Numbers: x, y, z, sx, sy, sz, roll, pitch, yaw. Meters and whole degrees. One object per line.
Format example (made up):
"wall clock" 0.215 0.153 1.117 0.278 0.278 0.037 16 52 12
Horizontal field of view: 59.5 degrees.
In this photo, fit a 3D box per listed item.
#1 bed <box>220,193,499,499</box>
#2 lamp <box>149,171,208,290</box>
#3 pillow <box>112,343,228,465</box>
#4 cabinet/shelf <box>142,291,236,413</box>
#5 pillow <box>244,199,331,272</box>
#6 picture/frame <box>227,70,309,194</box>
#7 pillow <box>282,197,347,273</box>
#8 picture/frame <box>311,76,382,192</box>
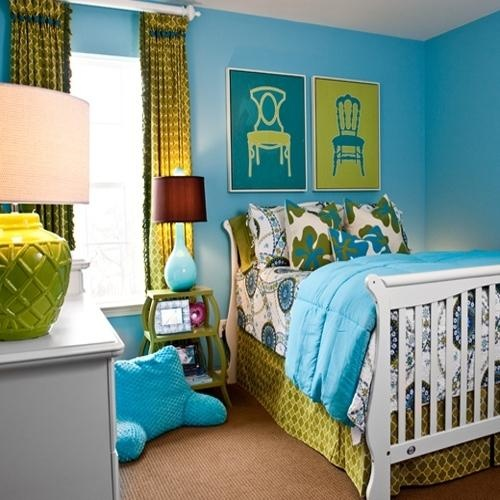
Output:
"bed" 0.476 0.345 2.543 0.832 1.131 1.355 -4 7 -26
"lamp" -0.418 -0.089 2.583 0.325 0.699 0.264 1 7 15
"pillow" -0.507 0.843 2.281 0.418 0.482 0.654 -36 -23 32
"cabinet/shelf" -0.413 0.624 2.756 0.426 0.827 0.403 -5 5 -19
"pillow" 0.263 -0.086 2.813 0.372 0.497 0.136 -5 -16 2
"picture/frame" 0.138 -0.852 3.182 0.555 1.011 0.024 1 -16 -3
"pillow" 0.372 -0.122 2.701 0.342 0.456 0.114 1 -15 -32
"picture/frame" 0.734 -0.928 3.436 0.686 1.247 0.075 -1 1 -28
